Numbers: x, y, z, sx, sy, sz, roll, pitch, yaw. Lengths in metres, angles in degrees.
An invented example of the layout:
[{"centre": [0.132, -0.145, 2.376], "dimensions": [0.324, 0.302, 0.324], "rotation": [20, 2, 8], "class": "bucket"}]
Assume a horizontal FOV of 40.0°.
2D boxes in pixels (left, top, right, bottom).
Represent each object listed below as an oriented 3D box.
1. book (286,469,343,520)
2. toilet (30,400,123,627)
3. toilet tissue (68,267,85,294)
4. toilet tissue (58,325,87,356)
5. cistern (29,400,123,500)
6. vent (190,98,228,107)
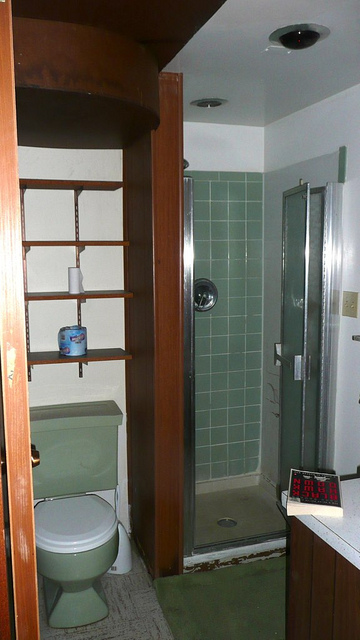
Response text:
[{"centre": [0.334, 0.424, 1.224], "dimensions": [0.101, 0.123, 0.033], "rotation": [2, 24, 2], "class": "book"}, {"centre": [-0.463, 0.822, 2.131], "dimensions": [0.419, 0.771, 0.637], "rotation": [-2, 5, -13], "class": "toilet"}, {"centre": [-0.470, -0.177, 2.224], "dimensions": [0.067, 0.114, 0.066], "rotation": [-8, 11, -24], "class": "toilet tissue"}, {"centre": [-0.486, 0.092, 2.218], "dimensions": [0.116, 0.132, 0.113], "rotation": [1, 0, -28], "class": "toilet tissue"}, {"centre": [-0.514, 0.559, 2.308], "dimensions": [0.493, 0.371, 0.287], "rotation": [1, 15, -36], "class": "cistern"}, {"centre": [0.133, -1.011, 2.300], "dimensions": [0.173, 0.013, 0.128], "rotation": [-3, 11, 6], "class": "vent"}]
